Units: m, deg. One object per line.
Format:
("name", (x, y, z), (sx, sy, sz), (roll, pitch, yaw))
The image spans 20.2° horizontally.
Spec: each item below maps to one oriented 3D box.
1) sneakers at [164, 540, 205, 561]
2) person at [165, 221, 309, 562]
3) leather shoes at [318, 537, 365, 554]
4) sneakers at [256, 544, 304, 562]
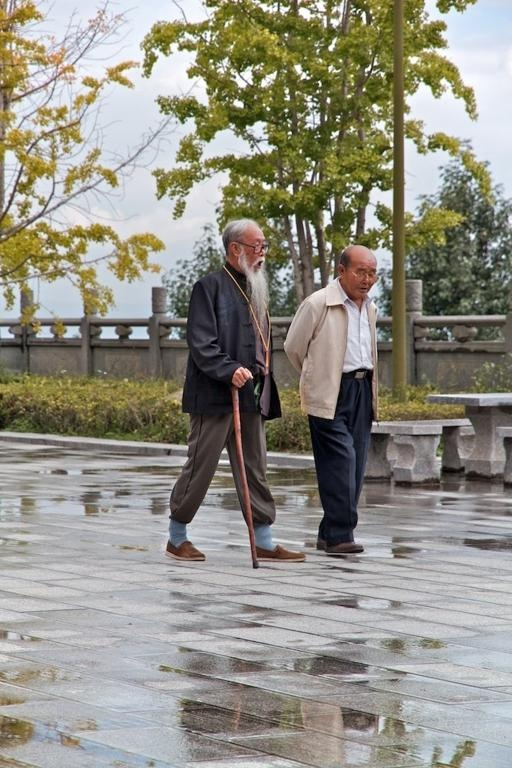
("sneakers", (-0.412, 0.968, 8.325), (0.093, 0.084, 0.229), (1, -1, -39))
("person", (-0.183, 0.033, 8.201), (0.665, 1.976, 0.717), (0, -2, 27))
("leather shoes", (0.494, 0.981, 8.632), (0.268, 0.118, 0.103), (-5, -6, 31))
("sneakers", (0.146, 0.988, 8.289), (0.263, 0.106, 0.108), (0, -1, 0))
